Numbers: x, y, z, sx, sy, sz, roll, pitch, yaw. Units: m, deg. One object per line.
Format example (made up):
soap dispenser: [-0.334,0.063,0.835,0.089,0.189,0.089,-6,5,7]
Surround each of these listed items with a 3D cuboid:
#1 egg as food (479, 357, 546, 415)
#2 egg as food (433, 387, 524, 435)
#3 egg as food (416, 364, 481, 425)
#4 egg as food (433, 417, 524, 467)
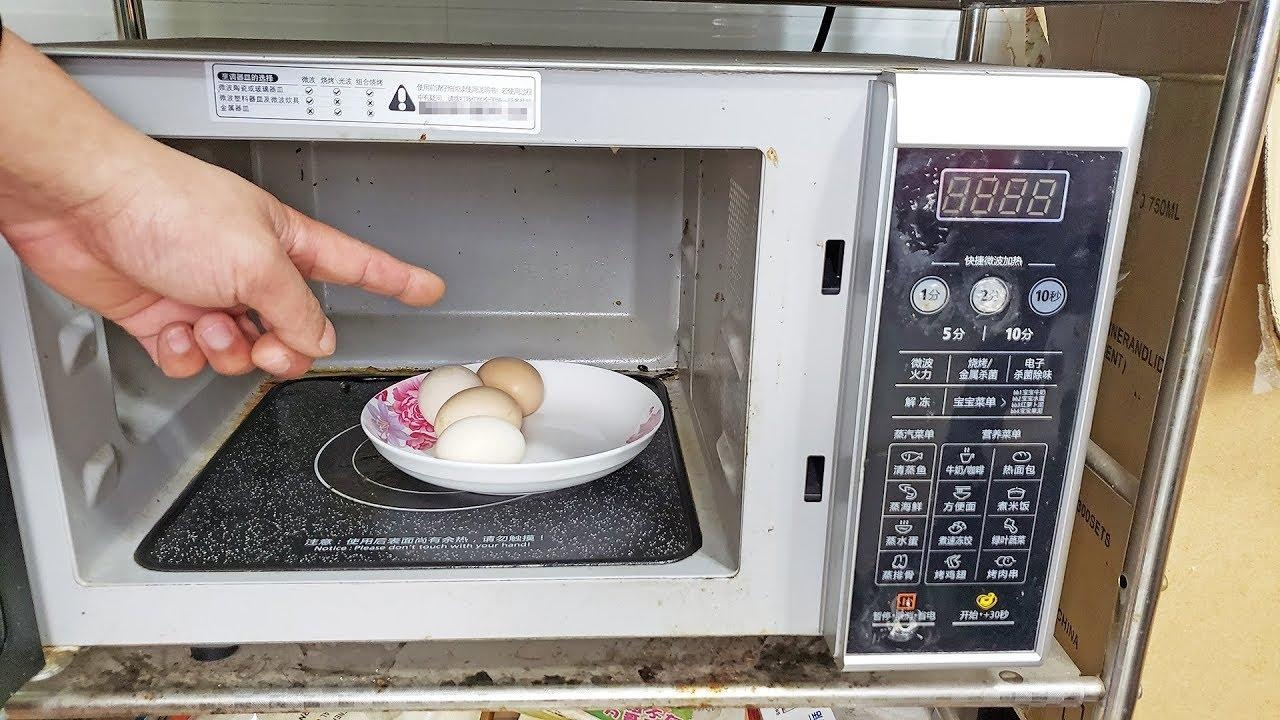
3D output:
egg as food: [-0.167,0.032,1.225,0.091,0.093,0.082,-2,1,8]
egg as food: [-0.219,0.075,1.176,0.091,0.081,0.119,7,-10,-38]
egg as food: [-0.253,0.048,1.232,0.091,0.091,0.082,1,-3,2]
egg as food: [-0.200,0.097,1.111,0.116,0.083,0.089,1,6,4]
